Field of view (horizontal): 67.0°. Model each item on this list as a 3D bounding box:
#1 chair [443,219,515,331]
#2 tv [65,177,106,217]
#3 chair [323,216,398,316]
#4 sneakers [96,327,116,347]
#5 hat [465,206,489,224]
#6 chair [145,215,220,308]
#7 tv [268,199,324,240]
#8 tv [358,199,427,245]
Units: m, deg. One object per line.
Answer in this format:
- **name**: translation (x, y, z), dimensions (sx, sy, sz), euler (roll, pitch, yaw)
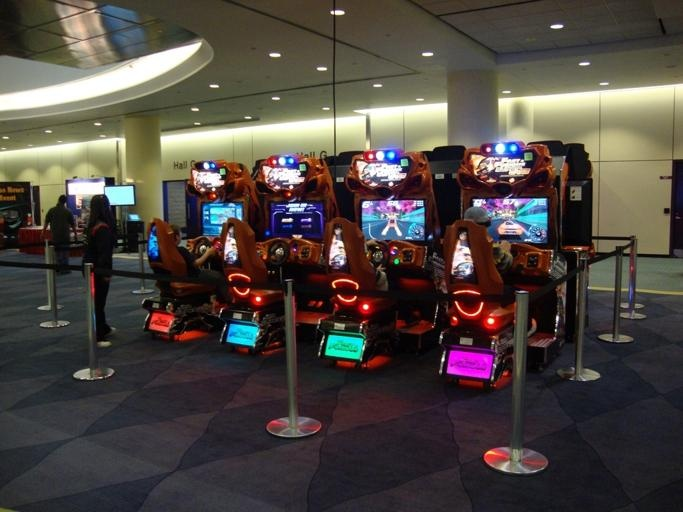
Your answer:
- **chair**: translation (1.176, 0.181, 4.464), dimensions (0.576, 0.989, 0.622), euler (1, 10, 14)
- **tv**: translation (-7.733, -1.714, 15.528), dimensions (1.764, 1.031, 0.033), euler (2, 5, 31)
- **chair**: translation (0.122, 0.146, 4.877), dimensions (0.607, 0.985, 0.988), euler (0, 9, 11)
- **sneakers**: translation (-2.643, 0.926, 5.801), dimensions (0.101, 0.103, 0.295), euler (1, 7, 4)
- **hat**: translation (1.333, -0.394, 5.077), dimensions (0.225, 0.122, 0.277), euler (2, 10, 31)
- **chair**: translation (-1.796, 0.082, 5.989), dimensions (0.856, 0.869, 0.682), euler (8, -4, -40)
- **tv**: translation (-0.542, -0.449, 6.416), dimensions (0.938, 0.483, 0.112), euler (2, 4, 39)
- **tv**: translation (0.589, -0.399, 5.992), dimensions (0.985, 0.500, 0.013), euler (3, 6, 43)
